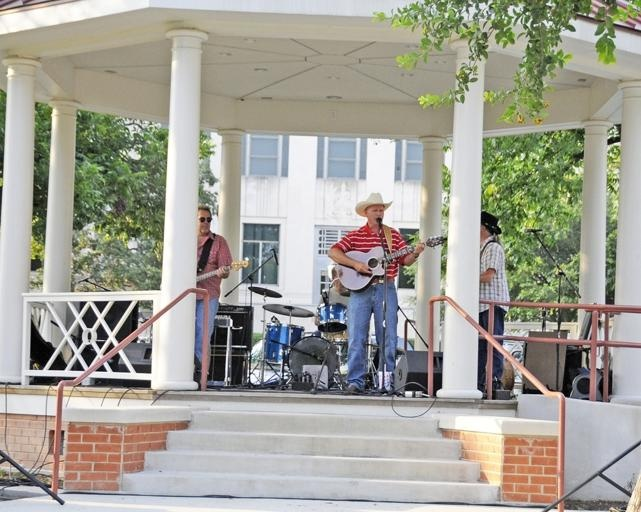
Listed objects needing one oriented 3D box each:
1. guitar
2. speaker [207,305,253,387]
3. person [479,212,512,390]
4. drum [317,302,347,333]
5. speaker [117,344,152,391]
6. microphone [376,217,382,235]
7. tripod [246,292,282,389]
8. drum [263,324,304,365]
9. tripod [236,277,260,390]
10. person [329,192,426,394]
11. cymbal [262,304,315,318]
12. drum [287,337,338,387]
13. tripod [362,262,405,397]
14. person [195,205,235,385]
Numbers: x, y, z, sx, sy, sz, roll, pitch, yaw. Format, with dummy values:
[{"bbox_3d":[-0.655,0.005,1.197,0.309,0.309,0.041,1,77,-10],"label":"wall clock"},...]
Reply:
[{"bbox_3d":[0.761,0.058,16.537,1.340,0.595,0.208,-18,-19,9],"label":"guitar"},{"bbox_3d":[-1.157,1.124,18.078,0.488,1.057,0.489,3,-1,0],"label":"speaker"},{"bbox_3d":[2.079,0.511,17.053,0.360,2.154,0.461,5,1,2],"label":"person"},{"bbox_3d":[0.132,0.790,17.943,0.334,0.265,0.349,-2,-18,-1],"label":"drum"},{"bbox_3d":[-2.391,1.483,17.659,0.628,0.371,0.672,-1,-3,3],"label":"speaker"},{"bbox_3d":[0.691,-0.362,16.643,0.050,0.201,0.062,-1,13,29],"label":"microphone"},{"bbox_3d":[-0.752,1.063,18.684,0.428,1.342,0.577,2,-2,-6],"label":"tripod"},{"bbox_3d":[-0.499,1.182,18.819,0.481,0.482,0.497,3,0,-19],"label":"drum"},{"bbox_3d":[-0.856,1.007,18.717,0.374,1.722,0.371,1,-2,-11],"label":"tripod"},{"bbox_3d":[0.661,0.464,16.609,1.082,2.648,0.905,0,-1,-3],"label":"person"},{"bbox_3d":[-0.418,0.710,18.481,0.675,0.177,1.121,2,1,0],"label":"cymbal"},{"bbox_3d":[-0.094,1.330,18.254,0.497,0.682,0.559,2,1,-20],"label":"drum"},{"bbox_3d":[0.787,0.930,16.579,0.387,1.317,0.343,1,0,-6],"label":"tripod"},{"bbox_3d":[-1.341,0.458,17.439,0.432,2.023,1.365,2,0,-4],"label":"person"}]
